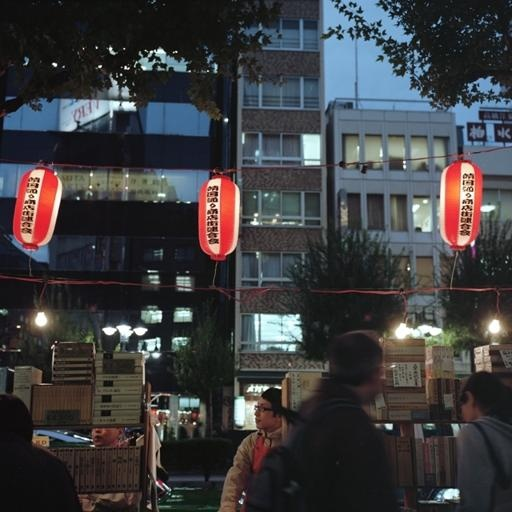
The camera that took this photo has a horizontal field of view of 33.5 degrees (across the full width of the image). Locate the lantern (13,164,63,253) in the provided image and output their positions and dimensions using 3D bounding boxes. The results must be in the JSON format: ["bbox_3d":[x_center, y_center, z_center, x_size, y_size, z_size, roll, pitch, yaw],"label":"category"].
[{"bbox_3d":[-3.324,-0.749,12.946,0.666,1.402,0.559,5,-9,-18],"label":"lantern"}]

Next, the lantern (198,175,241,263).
[{"bbox_3d":[-0.594,-0.634,13.529,0.640,1.462,0.578,3,-9,-4],"label":"lantern"}]

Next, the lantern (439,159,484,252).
[{"bbox_3d":[3.093,-0.760,12.830,0.552,1.407,0.602,2,-8,18],"label":"lantern"}]
